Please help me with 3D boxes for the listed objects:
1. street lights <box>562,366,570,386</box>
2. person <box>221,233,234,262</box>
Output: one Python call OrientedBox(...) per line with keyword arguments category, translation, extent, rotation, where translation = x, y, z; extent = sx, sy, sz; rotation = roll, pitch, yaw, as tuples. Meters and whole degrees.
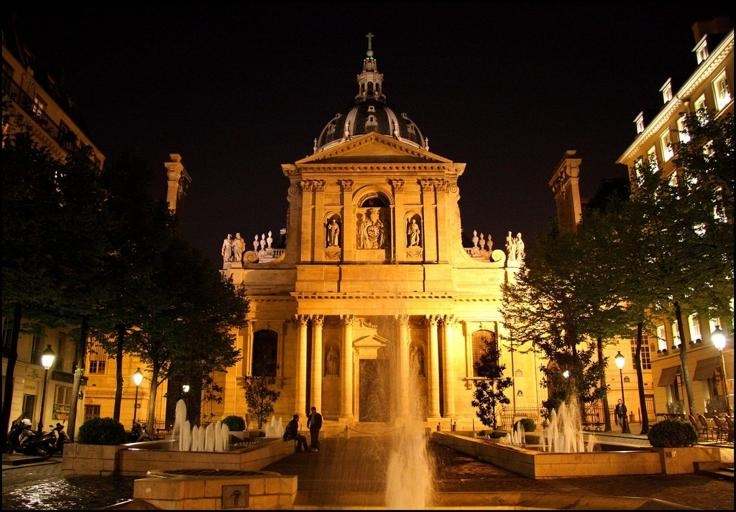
OrientedBox(category="street lights", translation=(11.559, 7.032, 36.437), extent=(0.367, 0.310, 1.207), rotation=(-16, 10, 12))
OrientedBox(category="person", translation=(-12.468, -0.705, 55.746), extent=(0.926, 2.682, 0.962), rotation=(11, -21, -32))
